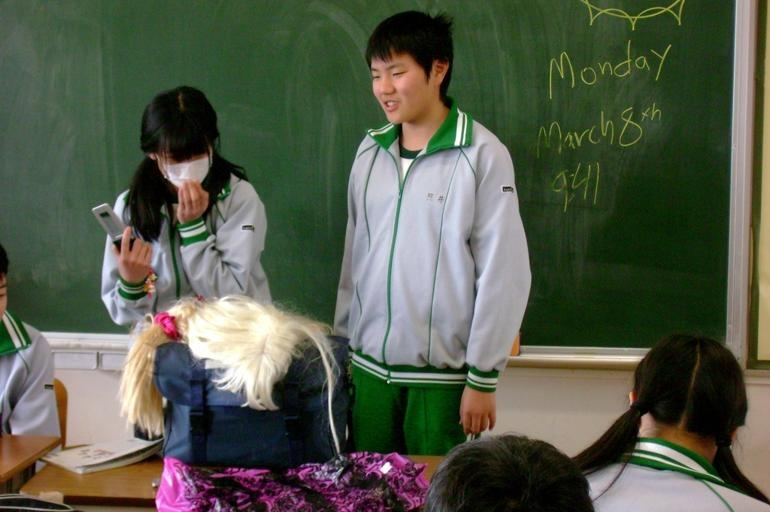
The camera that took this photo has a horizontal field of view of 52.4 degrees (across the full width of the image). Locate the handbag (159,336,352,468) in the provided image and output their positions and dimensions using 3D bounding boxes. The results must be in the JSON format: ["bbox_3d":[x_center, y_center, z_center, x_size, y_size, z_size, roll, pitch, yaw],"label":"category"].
[{"bbox_3d":[-0.439,0.331,2.518,0.648,0.490,0.358,0,2,-1],"label":"handbag"}]

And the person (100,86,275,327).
[{"bbox_3d":[-0.781,-0.190,3.053,0.646,0.911,0.318,-3,7,-22],"label":"person"}]

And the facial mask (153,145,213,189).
[{"bbox_3d":[-0.773,-0.332,3.007,0.202,0.133,0.130,-2,7,-13],"label":"facial mask"}]

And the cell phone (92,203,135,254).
[{"bbox_3d":[-1.032,-0.106,2.929,0.108,0.176,0.109,-3,7,-20],"label":"cell phone"}]

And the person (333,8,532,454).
[{"bbox_3d":[0.156,-0.062,2.951,0.772,1.669,0.243,2,7,19],"label":"person"}]
